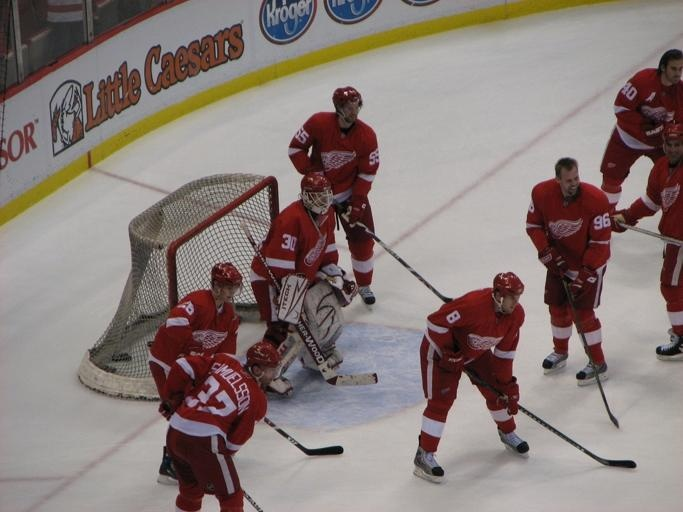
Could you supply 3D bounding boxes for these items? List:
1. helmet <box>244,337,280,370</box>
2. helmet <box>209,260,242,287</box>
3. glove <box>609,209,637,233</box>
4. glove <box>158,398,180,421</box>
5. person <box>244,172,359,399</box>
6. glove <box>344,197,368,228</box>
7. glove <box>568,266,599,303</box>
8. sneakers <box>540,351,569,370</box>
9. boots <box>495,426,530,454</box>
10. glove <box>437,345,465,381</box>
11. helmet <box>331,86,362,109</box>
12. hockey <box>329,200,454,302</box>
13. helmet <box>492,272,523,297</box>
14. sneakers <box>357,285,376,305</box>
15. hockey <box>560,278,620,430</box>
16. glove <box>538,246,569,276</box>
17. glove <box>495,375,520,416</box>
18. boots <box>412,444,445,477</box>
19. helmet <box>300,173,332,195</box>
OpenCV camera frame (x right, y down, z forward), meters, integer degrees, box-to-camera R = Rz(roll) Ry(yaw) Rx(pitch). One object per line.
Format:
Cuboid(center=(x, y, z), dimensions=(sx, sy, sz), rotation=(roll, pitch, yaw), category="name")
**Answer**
Cuboid(center=(-0.441, 0.562, 5.058), dimensions=(0.167, 0.148, 0.126), rotation=(12, 40, 2), category="helmet")
Cuboid(center=(-0.698, 0.109, 5.405), dimensions=(0.173, 0.093, 0.122), rotation=(1, 9, 16), category="helmet")
Cuboid(center=(2.080, -0.266, 6.723), dimensions=(0.252, 0.094, 0.240), rotation=(10, 9, -34), category="glove")
Cuboid(center=(-0.969, 0.867, 5.097), dimensions=(0.096, 0.119, 0.129), rotation=(-12, 1, 11), category="glove")
Cuboid(center=(-0.257, 0.178, 6.181), dimensions=(0.751, 1.457, 0.439), rotation=(-12, 17, -18), category="person")
Cuboid(center=(0.116, -0.342, 6.905), dimensions=(0.175, 0.199, 0.059), rotation=(9, 14, -9), category="glove")
Cuboid(center=(1.653, 0.184, 6.136), dimensions=(0.142, 0.244, 0.097), rotation=(34, 27, 23), category="glove")
Cuboid(center=(1.522, 0.729, 6.406), dimensions=(0.227, 0.093, 0.084), rotation=(-16, 24, -28), category="sneakers")
Cuboid(center=(1.093, 1.179, 5.718), dimensions=(0.065, 0.131, 0.192), rotation=(-41, 41, -20), category="boots")
Cuboid(center=(0.665, 0.644, 5.419), dimensions=(0.127, 0.174, 0.121), rotation=(10, 12, 21), category="glove")
Cuboid(center=(0.032, -1.147, 6.564), dimensions=(0.218, 0.169, 0.163), rotation=(-10, 26, 12), category="helmet")
Cuboid(center=(0.405, -0.008, 7.252), dimensions=(1.121, 0.169, 0.087), rotation=(43, 26, 3), category="hockey")
Cuboid(center=(0.987, 0.170, 5.300), dimensions=(0.150, 0.144, 0.119), rotation=(23, 23, 17), category="helmet")
Cuboid(center=(0.200, 0.313, 7.121), dimensions=(0.045, 0.089, 0.130), rotation=(-28, 59, -9), category="sneakers")
Cuboid(center=(1.707, 0.708, 6.196), dimensions=(0.085, 1.002, 0.109), rotation=(-17, -4, -35), category="hockey")
Cuboid(center=(1.448, 0.033, 6.139), dimensions=(0.155, 0.208, 0.089), rotation=(-29, -2, 17), category="glove")
Cuboid(center=(1.030, 0.875, 5.533), dimensions=(0.068, 0.193, 0.195), rotation=(-3, 9, -12), category="glove")
Cuboid(center=(0.558, 1.296, 5.571), dimensions=(0.100, 0.188, 0.270), rotation=(2, 4, -33), category="boots")
Cuboid(center=(-0.172, -0.491, 6.041), dimensions=(0.189, 0.116, 0.190), rotation=(-10, 15, -13), category="helmet")
